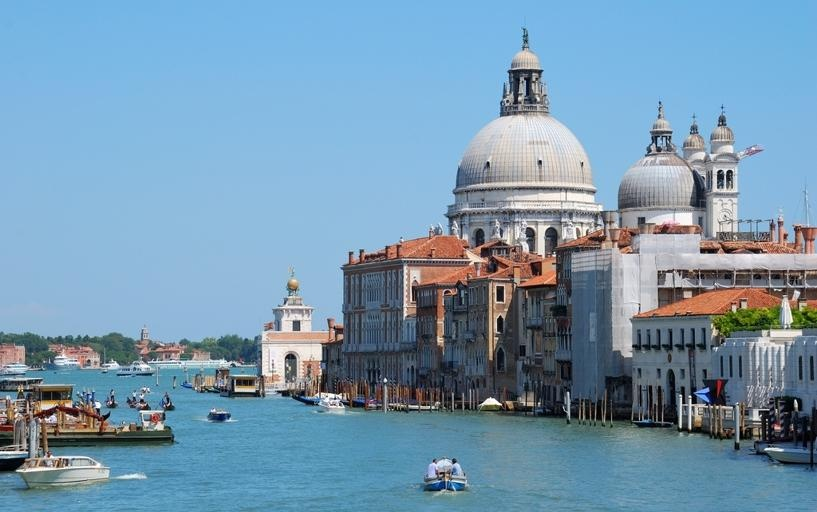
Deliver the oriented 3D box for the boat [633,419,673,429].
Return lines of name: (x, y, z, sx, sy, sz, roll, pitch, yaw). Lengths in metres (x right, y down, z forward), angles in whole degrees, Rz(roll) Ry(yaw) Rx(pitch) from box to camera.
boat: (20.483, 14.108, 158.583, 3.017, 0.711, 1.096, 0, -4, 11)

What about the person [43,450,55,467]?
person: (-25.117, 14.073, 132.899, 0.753, 1.589, 0.827, 2, -39, -10)

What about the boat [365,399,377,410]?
boat: (-3.709, 15.237, 196.231, 1.001, 1.410, 4.832, -2, -9, 1)

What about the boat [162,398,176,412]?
boat: (-25.441, 15.546, 199.843, 1.562, 1.312, 6.779, -3, -6, -2)

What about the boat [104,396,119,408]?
boat: (-31.952, 15.908, 205.954, 0.964, 1.352, 2.468, 0, -10, -16)

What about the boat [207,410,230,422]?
boat: (-17.958, 15.132, 180.006, 0.742, 0.896, 2.738, -3, -2, -23)
